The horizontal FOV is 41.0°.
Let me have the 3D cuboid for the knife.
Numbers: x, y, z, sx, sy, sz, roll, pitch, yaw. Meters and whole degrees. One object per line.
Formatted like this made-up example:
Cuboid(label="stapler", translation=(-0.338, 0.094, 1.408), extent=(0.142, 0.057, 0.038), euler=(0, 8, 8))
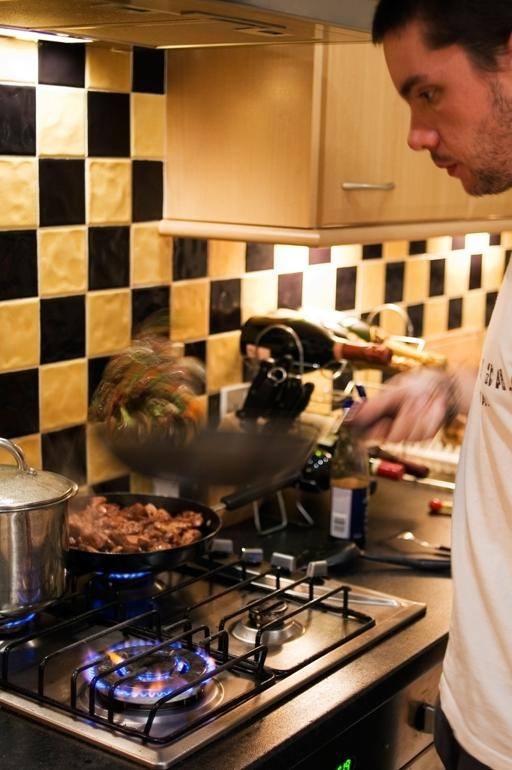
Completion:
Cuboid(label="knife", translation=(0.041, 0.024, 1.467), extent=(0.159, 0.111, 0.059), euler=(4, -1, -12))
